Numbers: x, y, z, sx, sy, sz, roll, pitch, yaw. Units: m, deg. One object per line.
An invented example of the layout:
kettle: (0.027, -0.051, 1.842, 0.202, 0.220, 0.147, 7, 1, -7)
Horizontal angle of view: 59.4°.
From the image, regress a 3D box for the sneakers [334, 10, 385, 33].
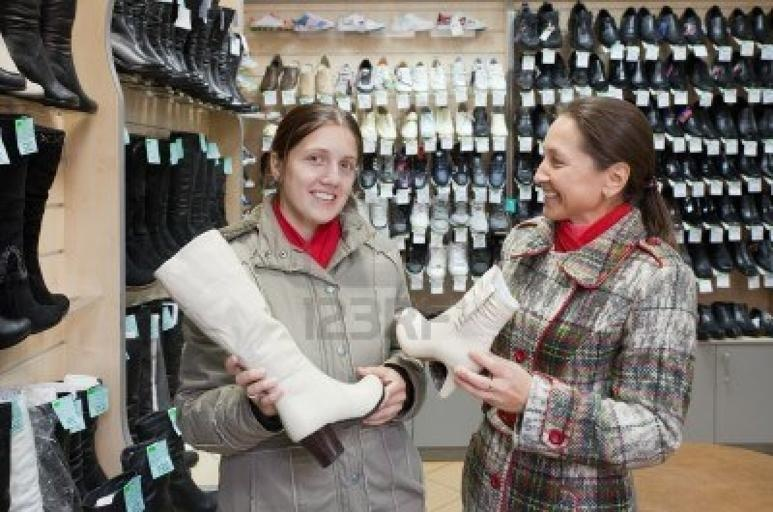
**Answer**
sneakers: (-0.206, -1.713, 4.923, 0.390, 0.172, 0.139, -1, 15, -5)

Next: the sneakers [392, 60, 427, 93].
sneakers: (0.173, -1.270, 4.813, 0.170, 0.269, 0.089, 0, -12, 1)

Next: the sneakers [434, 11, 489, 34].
sneakers: (0.527, -1.708, 4.938, 0.423, 0.183, 0.153, -2, 13, -4)

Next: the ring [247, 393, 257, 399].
ring: (-0.393, 0.411, 1.977, 0.026, 0.015, 0.037, 8, -3, -14)

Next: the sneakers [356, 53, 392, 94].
sneakers: (-0.101, -1.283, 4.891, 0.206, 0.298, 0.088, -1, -36, -2)

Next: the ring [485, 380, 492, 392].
ring: (0.316, 0.409, 2.102, 0.016, 0.031, 0.012, 0, 9, 2)

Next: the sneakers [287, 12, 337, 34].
sneakers: (-0.546, -1.708, 4.927, 0.412, 0.169, 0.126, 2, 14, 4)

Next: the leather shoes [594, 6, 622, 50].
leather shoes: (1.573, -1.630, 4.820, 0.173, 0.292, 0.128, 4, 4, 13)

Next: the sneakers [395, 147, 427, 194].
sneakers: (0.176, -0.609, 4.834, 0.198, 0.298, 0.096, -1, -6, -7)

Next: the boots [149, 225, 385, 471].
boots: (-0.390, 0.280, 2.148, 0.356, 0.988, 0.257, -36, -1, -26)

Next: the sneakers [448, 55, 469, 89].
sneakers: (0.529, -1.301, 4.901, 0.088, 0.292, 0.115, 1, -12, -3)

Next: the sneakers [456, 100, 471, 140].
sneakers: (0.545, -0.962, 4.821, 0.081, 0.297, 0.067, -2, -20, 5)

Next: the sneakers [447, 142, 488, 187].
sneakers: (0.590, -0.652, 4.893, 0.211, 0.314, 0.124, -4, -16, 1)

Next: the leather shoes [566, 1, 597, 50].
leather shoes: (1.375, -1.614, 4.782, 0.125, 0.419, 0.179, -1, -9, 6)

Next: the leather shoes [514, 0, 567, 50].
leather shoes: (1.072, -1.624, 4.856, 0.251, 0.396, 0.138, -3, -22, 4)

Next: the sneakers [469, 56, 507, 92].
sneakers: (0.713, -1.288, 4.873, 0.195, 0.297, 0.085, 2, -17, -1)

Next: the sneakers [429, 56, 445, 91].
sneakers: (0.365, -1.297, 4.848, 0.116, 0.228, 0.098, 3, 4, 5)

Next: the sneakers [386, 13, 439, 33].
sneakers: (0.185, -1.717, 4.924, 0.340, 0.159, 0.149, -2, 21, -2)

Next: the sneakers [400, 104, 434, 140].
sneakers: (0.219, -0.947, 4.867, 0.219, 0.250, 0.241, -1, 4, 0)

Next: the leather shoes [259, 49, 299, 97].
leather shoes: (-0.760, -1.287, 4.801, 0.148, 0.195, 0.486, 1, 30, 6)

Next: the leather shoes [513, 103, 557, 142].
leather shoes: (1.052, -0.979, 4.790, 0.253, 0.273, 0.104, 6, -13, -4)

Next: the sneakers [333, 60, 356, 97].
sneakers: (-0.306, -1.239, 4.808, 0.121, 0.245, 0.093, 2, 4, -7)
